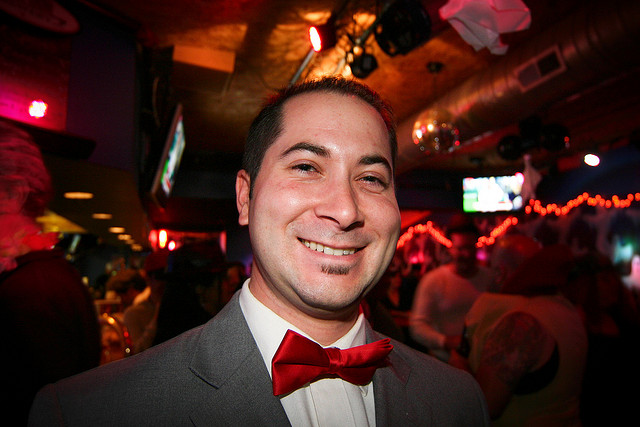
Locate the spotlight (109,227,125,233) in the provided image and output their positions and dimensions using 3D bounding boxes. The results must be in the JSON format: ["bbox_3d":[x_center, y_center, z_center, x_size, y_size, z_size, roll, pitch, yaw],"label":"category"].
[{"bbox_3d":[-2.953,0.243,6.775,0.147,0.096,0.305,4,-2,-9],"label":"spotlight"}]

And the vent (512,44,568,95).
[{"bbox_3d":[2.093,-1.398,4.427,0.028,0.240,0.403,-39,14,-33],"label":"vent"}]

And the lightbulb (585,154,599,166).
[{"bbox_3d":[4.212,-0.850,7.259,0.172,0.150,0.184,2,-2,19],"label":"lightbulb"}]

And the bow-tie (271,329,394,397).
[{"bbox_3d":[0.058,0.742,2.318,0.600,0.315,0.127,3,-2,-14],"label":"bow-tie"}]

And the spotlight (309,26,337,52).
[{"bbox_3d":[0.019,-1.641,4.317,0.189,0.242,0.245,-22,10,-17],"label":"spotlight"}]

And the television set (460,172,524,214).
[{"bbox_3d":[3.047,-0.346,8.175,0.446,0.656,1.144,4,-3,-37],"label":"television set"}]
